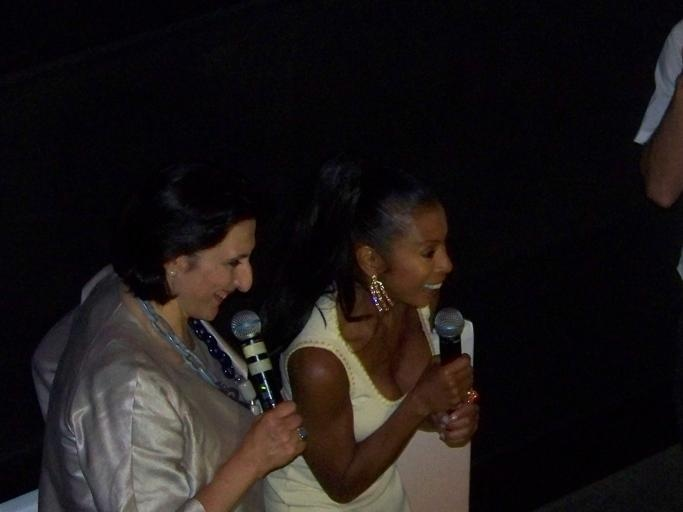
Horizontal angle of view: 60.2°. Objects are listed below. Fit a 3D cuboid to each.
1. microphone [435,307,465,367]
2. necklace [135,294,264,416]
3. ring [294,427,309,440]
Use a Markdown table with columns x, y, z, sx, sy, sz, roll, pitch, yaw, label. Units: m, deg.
| x | y | z | sx | sy | sz | roll | pitch | yaw | label |
| --- | --- | --- | --- | --- | --- | --- | --- | --- | --- |
| 0.360 | 0.258 | 1.945 | 0.095 | 0.177 | 0.146 | -10 | -14 | 7 | microphone |
| -0.451 | 0.335 | 2.137 | 0.311 | 0.198 | 0.317 | -25 | 18 | 19 | necklace |
| -0.126 | 0.561 | 1.861 | 0.030 | 0.029 | 0.043 | 19 | -14 | 19 | ring |
